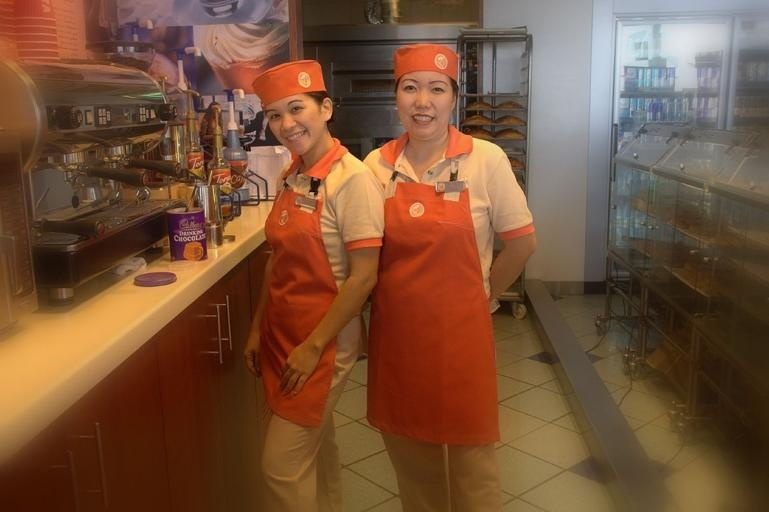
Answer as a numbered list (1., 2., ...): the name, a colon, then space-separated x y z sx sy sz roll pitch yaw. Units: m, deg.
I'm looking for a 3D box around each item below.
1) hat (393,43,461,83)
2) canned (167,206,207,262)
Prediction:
1. hat: 0.140 -0.667 1.883 0.156 0.082 0.155 -1 11 -1
2. canned: -0.688 -0.078 1.998 0.164 0.183 0.164 -3 7 -10
